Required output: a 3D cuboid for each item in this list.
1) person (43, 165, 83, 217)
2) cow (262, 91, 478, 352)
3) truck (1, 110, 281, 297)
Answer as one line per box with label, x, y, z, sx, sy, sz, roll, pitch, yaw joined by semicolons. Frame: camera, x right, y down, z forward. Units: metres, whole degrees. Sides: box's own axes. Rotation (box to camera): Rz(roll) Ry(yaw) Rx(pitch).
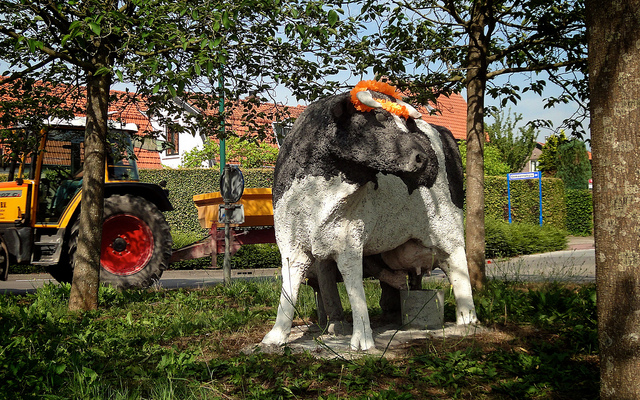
person;-4.890;-0.238;10.652;0.492;0.893;0.241;10;1;-24
cow;0.742;0.276;6.940;2.286;3.067;3.206;-4;-6;32
truck;-2.232;0.252;12.342;8.745;3.942;2.577;3;-3;-40
